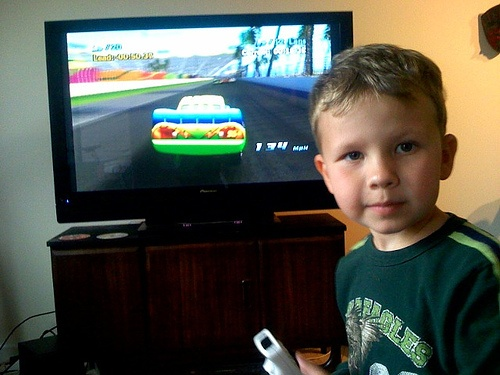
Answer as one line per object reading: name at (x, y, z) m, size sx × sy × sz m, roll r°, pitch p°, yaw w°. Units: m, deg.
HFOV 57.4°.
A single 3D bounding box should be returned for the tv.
tv at (-0.282, -0.338, 2.327) m, size 1.271 × 0.792 × 0.290 m, roll -1°, pitch 1°, yaw -3°
